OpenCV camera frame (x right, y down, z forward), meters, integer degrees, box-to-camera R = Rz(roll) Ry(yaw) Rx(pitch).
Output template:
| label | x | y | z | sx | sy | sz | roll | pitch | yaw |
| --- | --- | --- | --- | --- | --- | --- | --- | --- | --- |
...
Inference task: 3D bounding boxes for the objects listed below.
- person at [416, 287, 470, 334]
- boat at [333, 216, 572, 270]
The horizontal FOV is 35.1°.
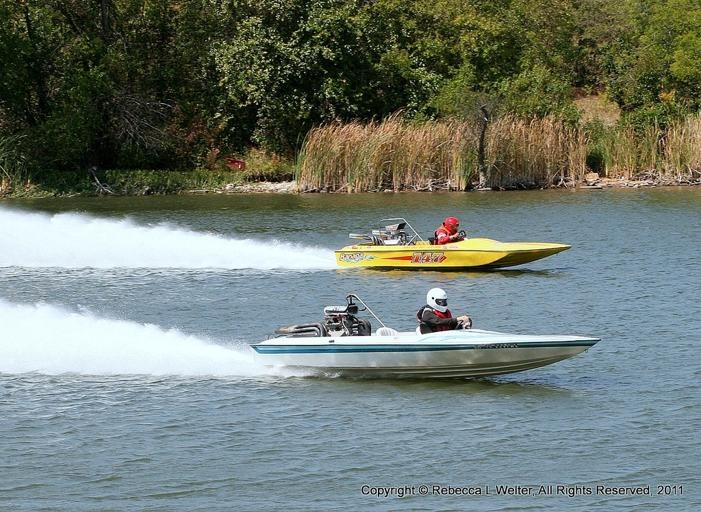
| label | x | y | z | sx | sy | sz | roll | pitch | yaw |
| --- | --- | --- | --- | --- | --- | --- | --- | --- | --- |
| person | 2.239 | 1.359 | 25.781 | 1.481 | 0.841 | 0.835 | 3 | 15 | 8 |
| boat | 4.342 | -0.401 | 35.264 | 9.967 | 1.556 | 2.107 | 0 | 7 | 9 |
